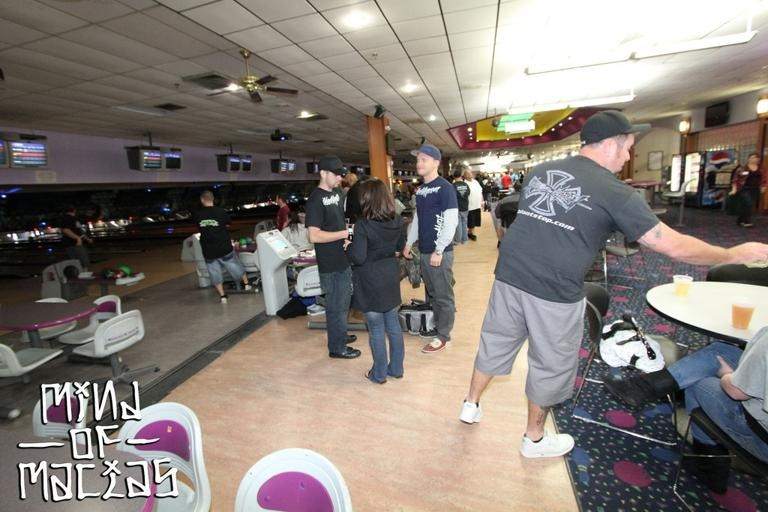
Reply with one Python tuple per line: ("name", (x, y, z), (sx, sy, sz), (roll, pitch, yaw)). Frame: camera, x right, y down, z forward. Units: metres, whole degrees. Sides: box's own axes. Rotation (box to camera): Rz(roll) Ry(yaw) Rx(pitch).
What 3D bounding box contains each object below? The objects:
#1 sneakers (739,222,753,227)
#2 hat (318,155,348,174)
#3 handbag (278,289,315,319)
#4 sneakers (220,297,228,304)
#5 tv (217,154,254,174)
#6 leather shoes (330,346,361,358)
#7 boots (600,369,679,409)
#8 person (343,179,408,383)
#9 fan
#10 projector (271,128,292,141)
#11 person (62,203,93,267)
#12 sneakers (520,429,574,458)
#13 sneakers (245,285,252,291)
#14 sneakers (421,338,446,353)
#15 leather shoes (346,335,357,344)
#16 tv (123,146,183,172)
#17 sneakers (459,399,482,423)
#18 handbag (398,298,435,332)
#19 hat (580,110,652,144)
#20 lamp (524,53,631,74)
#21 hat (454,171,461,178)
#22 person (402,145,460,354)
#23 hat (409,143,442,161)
("sneakers", (7.786, -0.658, 9.136), (0.162, 0.067, 0.225), (0, 1, 43))
("hat", (-0.544, -0.962, 4.523), (0.286, 0.122, 0.182), (1, 16, -9))
("handbag", (-1.247, 0.687, 6.121), (0.529, 0.150, 0.360), (-7, 4, -6))
("sneakers", (-2.616, 0.709, 6.927), (0.081, 0.065, 0.183), (1, 9, 0))
("tv", (-5.237, -3.195, 14.857), (0.339, 0.329, 1.049), (-8, 6, 9))
("leather shoes", (-0.443, 1.092, 4.897), (0.297, 0.093, 0.147), (-1, -2, 2))
("boots", (2.166, 1.064, 3.701), (0.599, 0.352, 0.227), (18, -4, -15))
("person", (-0.035, 0.259, 4.279), (0.420, 2.039, 0.554), (8, 18, 40))
("fan", (-2.024, -2.778, 6.404), (1.296, 0.531, 1.198), (-11, 29, -1))
("projector", (-2.801, -3.281, 11.567), (0.630, 0.326, 0.569), (-3, 10, -26))
("person", (-5.920, -0.366, 8.162), (0.424, 1.173, 0.655), (-14, 16, -34))
("sneakers", (1.331, 1.509, 3.537), (0.483, 0.177, 0.183), (-3, 8, -3))
("sneakers", (-2.375, 0.551, 7.457), (0.106, 0.043, 0.135), (-2, 1, -13))
("sneakers", (0.572, 1.002, 4.859), (0.274, 0.084, 0.139), (-1, 1, -31))
("leather shoes", (-0.389, 0.999, 5.235), (0.054, 0.094, 0.149), (20, 27, 19))
("tv", (-6.101, -2.554, 11.287), (0.933, 0.668, 1.578), (1, 6, 19))
("sneakers", (0.745, 1.325, 3.653), (0.130, 0.124, 0.311), (2, 7, 17))
("handbag", (0.412, 0.748, 5.388), (0.470, 0.368, 0.347), (1, 4, 5))
("hat", (1.762, -0.979, 3.222), (0.493, 0.216, 0.284), (-18, 12, 12))
("lamp", (3.063, -3.092, 6.891), (1.347, 0.215, 0.143), (6, -30, 41))
("hat", (1.590, -1.748, 9.153), (0.191, 0.150, 0.125), (-2, 22, -13))
("person", (0.533, -0.068, 4.735), (0.571, 2.283, 0.652), (-2, 14, 9))
("hat", (0.471, -1.109, 4.607), (0.252, 0.182, 0.340), (-1, 11, 11))
